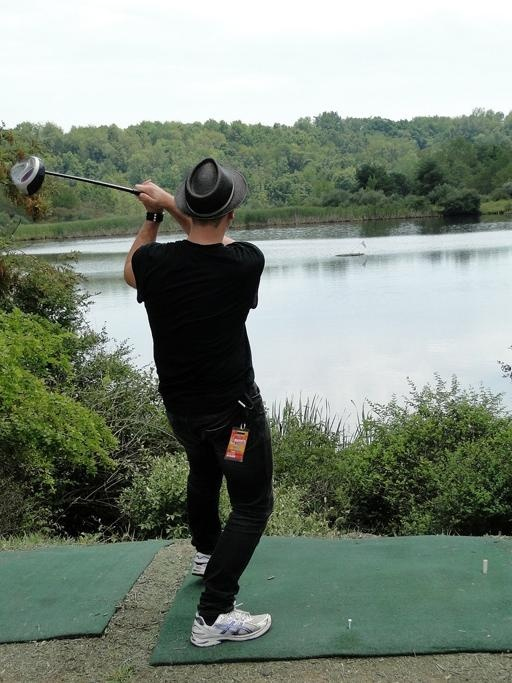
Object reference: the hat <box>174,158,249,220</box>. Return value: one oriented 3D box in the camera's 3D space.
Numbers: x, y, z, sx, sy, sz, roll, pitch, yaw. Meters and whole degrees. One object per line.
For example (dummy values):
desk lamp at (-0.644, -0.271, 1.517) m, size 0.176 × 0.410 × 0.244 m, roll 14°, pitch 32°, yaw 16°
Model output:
hat at (-0.201, -0.666, 2.717) m, size 0.322 × 0.308 × 0.369 m, roll -3°, pitch 5°, yaw -2°

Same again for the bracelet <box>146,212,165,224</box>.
bracelet at (-0.483, -0.593, 2.997) m, size 0.096 × 0.054 × 0.086 m, roll 3°, pitch 0°, yaw -11°

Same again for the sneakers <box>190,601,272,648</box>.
sneakers at (-0.112, 1.292, 2.875) m, size 0.413 × 0.164 × 0.137 m, roll -3°, pitch 1°, yaw -13°

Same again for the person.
person at (-0.236, 0.279, 2.843) m, size 0.589 × 2.171 × 0.625 m, roll -5°, pitch 6°, yaw -20°
